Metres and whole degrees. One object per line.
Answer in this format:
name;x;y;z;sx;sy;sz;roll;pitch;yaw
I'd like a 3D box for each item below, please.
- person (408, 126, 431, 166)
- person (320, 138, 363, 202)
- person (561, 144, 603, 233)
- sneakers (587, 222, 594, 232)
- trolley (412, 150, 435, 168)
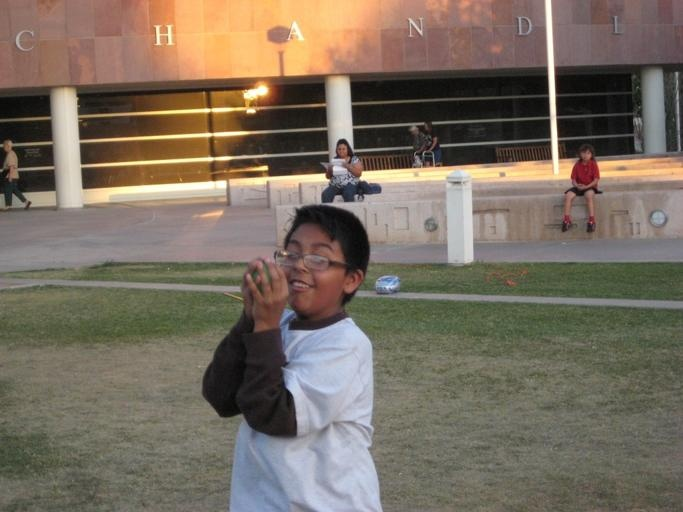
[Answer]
person;2.383;-3.355;32.855;0.542;1.233;2.007;-2;5;4
person;-0.027;-1.726;21.727;0.884;1.259;0.823;1;6;31
person;4.242;-1.190;19.030;0.676;1.545;0.749;2;6;41
sneakers;4.380;-0.511;18.923;0.135;0.203;0.206;-1;5;18
trolley;2.445;-2.918;32.534;0.472;0.739;0.471;2;-2;-24
